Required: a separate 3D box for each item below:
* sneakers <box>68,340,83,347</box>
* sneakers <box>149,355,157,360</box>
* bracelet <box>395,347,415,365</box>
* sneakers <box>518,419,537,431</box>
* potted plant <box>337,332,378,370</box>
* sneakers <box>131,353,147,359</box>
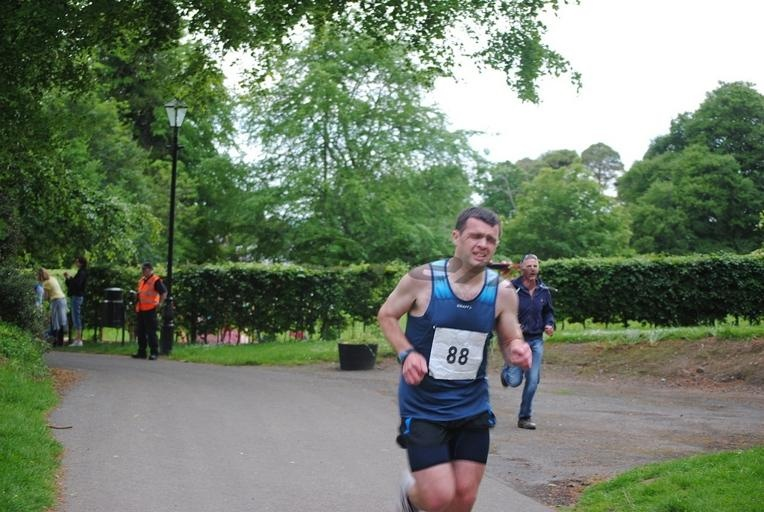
[{"bbox_3d":[-9.599,2.713,28.131,0.696,0.265,0.232,0,-3,32],"label":"sneakers"},{"bbox_3d":[-6.230,2.744,24.512,0.085,0.158,0.240,9,0,0],"label":"sneakers"},{"bbox_3d":[0.311,1.390,12.526,0.230,0.203,0.215,1,-13,-9],"label":"bracelet"},{"bbox_3d":[2.764,3.219,17.309,0.142,0.155,0.382,11,-16,-42],"label":"sneakers"},{"bbox_3d":[-0.639,2.572,24.074,1.017,0.556,0.941,-3,-7,18],"label":"potted plant"},{"bbox_3d":[-6.672,2.734,24.740,0.410,0.128,0.277,0,0,20],"label":"sneakers"}]
